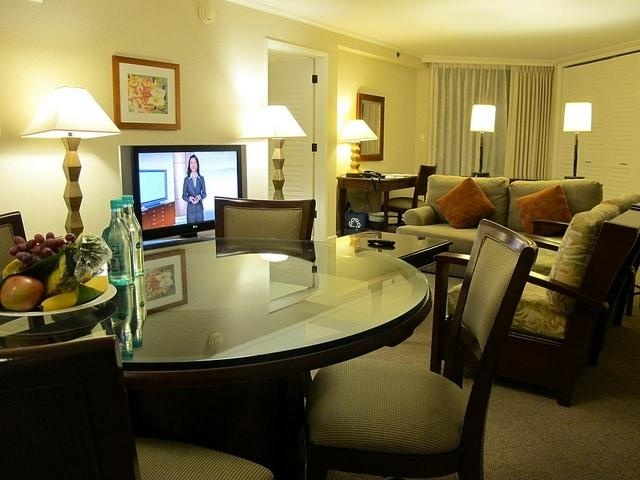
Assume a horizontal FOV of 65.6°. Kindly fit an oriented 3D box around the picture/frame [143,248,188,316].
[{"bbox_3d":[-0.544,0.153,1.756,0.011,0.168,0.164,-20,-7,26],"label":"picture/frame"}]

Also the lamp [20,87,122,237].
[{"bbox_3d":[-1.650,-0.519,3.343,0.572,0.971,0.558,-8,15,-35],"label":"lamp"}]

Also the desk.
[{"bbox_3d":[0.721,-0.707,6.428,0.700,0.909,1.218,6,12,29],"label":"desk"}]

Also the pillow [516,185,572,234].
[{"bbox_3d":[2.053,-0.183,4.445,0.388,0.420,0.179,-20,-40,36],"label":"pillow"}]

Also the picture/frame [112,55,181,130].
[{"bbox_3d":[-1.411,-1.187,3.972,0.051,0.642,0.708,11,15,34],"label":"picture/frame"}]

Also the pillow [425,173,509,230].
[{"bbox_3d":[1.432,-0.401,4.845,0.553,0.615,0.231,5,-12,26],"label":"pillow"}]

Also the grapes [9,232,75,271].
[{"bbox_3d":[-0.782,0.022,1.406,0.162,0.099,0.187,-3,13,-15],"label":"grapes"}]

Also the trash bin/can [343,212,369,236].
[{"bbox_3d":[0.473,-0.219,6.293,0.300,0.330,0.199,2,11,12],"label":"trash bin/can"}]

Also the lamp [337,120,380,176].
[{"bbox_3d":[0.415,-1.204,6.415,0.601,0.734,0.636,5,15,19],"label":"lamp"}]

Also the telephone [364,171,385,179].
[{"bbox_3d":[0.658,-0.817,6.225,0.197,0.057,0.165,10,17,29],"label":"telephone"}]

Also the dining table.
[{"bbox_3d":[-0.134,0.308,1.418,0.740,0.455,0.787,1,15,8],"label":"dining table"}]

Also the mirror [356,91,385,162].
[{"bbox_3d":[0.721,-1.575,6.965,0.036,0.887,0.715,8,13,36],"label":"mirror"}]

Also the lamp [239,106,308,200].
[{"bbox_3d":[-0.453,-0.812,4.704,0.548,0.915,0.891,-3,13,-16],"label":"lamp"}]

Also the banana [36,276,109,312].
[{"bbox_3d":[-0.702,0.163,1.418,0.056,0.054,0.177,22,39,38],"label":"banana"}]
